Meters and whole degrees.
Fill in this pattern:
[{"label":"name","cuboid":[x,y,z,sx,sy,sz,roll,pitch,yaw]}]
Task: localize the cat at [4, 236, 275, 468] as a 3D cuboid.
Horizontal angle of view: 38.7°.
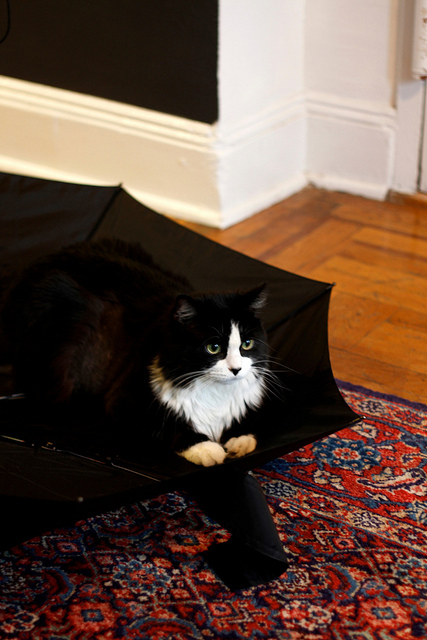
[{"label":"cat","cuboid":[-0.124,0.036,0.842,0.434,0.219,0.343,15,27,43]}]
